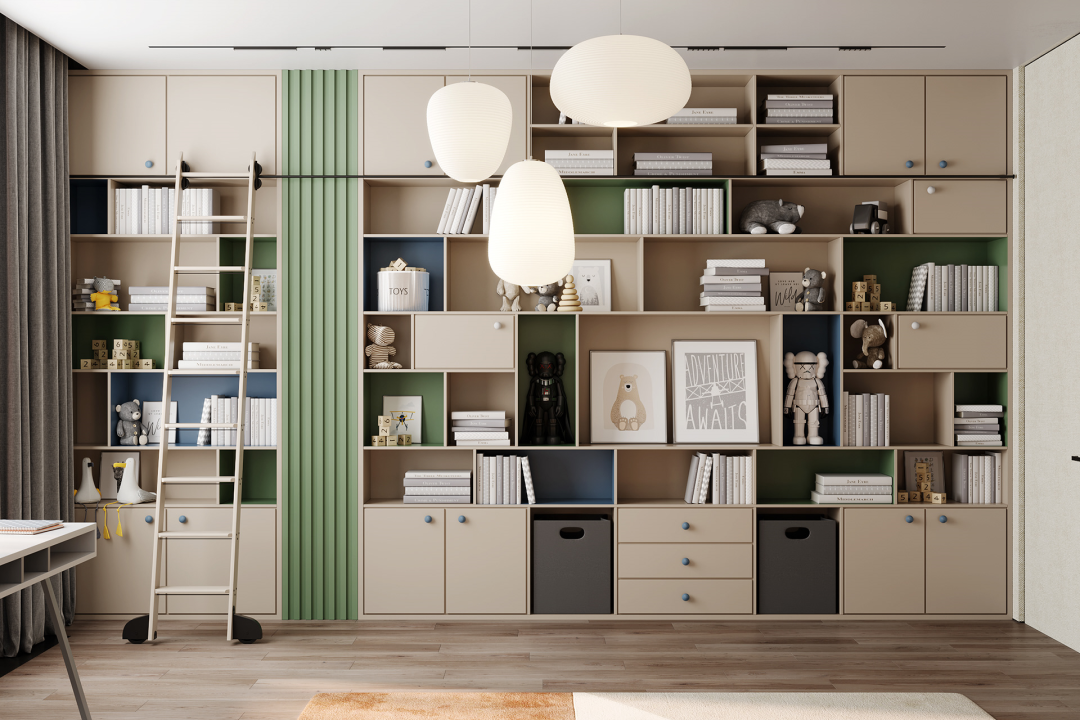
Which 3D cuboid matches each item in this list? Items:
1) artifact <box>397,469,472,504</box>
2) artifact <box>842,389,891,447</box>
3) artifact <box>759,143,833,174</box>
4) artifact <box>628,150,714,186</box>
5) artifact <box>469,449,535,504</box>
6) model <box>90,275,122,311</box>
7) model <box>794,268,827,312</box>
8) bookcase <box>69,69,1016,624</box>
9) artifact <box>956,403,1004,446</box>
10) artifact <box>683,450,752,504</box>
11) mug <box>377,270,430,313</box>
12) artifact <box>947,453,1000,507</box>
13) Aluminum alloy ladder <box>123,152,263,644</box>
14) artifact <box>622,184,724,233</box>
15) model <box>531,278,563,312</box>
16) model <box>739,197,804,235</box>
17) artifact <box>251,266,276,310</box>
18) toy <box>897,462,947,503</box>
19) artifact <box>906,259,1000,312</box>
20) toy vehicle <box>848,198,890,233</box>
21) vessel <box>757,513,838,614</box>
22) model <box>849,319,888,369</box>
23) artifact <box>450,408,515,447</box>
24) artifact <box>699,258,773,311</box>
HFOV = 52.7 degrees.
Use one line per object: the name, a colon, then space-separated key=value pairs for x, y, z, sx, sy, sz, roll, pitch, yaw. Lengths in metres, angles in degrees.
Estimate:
artifact: x=-0.656 y=0.842 z=7.216 sx=0.351 sy=0.136 sz=0.242 roll=-1 pitch=-1 yaw=0
artifact: x=2.151 y=0.398 z=7.174 sx=0.279 sy=0.287 sz=0.091 roll=-1 pitch=0 yaw=14
artifact: x=1.687 y=-1.316 z=7.151 sx=0.356 sy=0.146 sz=0.242 roll=0 pitch=2 yaw=-4
artifact: x=0.875 y=-1.287 z=7.174 sx=0.496 sy=0.124 sz=0.078 roll=-1 pitch=0 yaw=0
artifact: x=-0.207 y=0.759 z=7.300 sx=0.595 sy=0.479 sz=0.311 roll=0 pitch=1 yaw=3
model: x=-2.859 y=-0.448 z=7.293 sx=0.254 sy=0.224 sz=0.207 roll=-1 pitch=-3 yaw=-5
model: x=1.835 y=-0.473 z=7.270 sx=0.226 sy=0.234 sz=0.231 roll=-1 pitch=0 yaw=4
bookcase: x=-0.297 y=-0.076 z=7.082 sx=7.198 sy=3.562 sz=0.747 roll=0 pitch=2 yaw=-14
artifact: x=2.902 y=0.433 z=7.178 sx=0.307 sy=0.242 sz=0.129 roll=-1 pitch=0 yaw=16
artifact: x=1.191 y=0.783 z=7.180 sx=0.445 sy=0.246 sz=0.102 roll=-1 pitch=0 yaw=6
mug: x=-0.912 y=-0.453 z=7.267 sx=0.320 sy=0.207 sz=0.299 roll=-1 pitch=-1 yaw=3
artifact: x=2.900 y=0.786 z=7.384 sx=0.331 sy=0.377 sz=0.395 roll=0 pitch=0 yaw=2
Aluminum alloy ladder: x=-2.245 y=0.229 z=7.076 sx=0.877 sy=3.082 sz=0.665 roll=-1 pitch=0 yaw=-12
artifact: x=0.931 y=-0.966 z=7.280 sx=0.520 sy=0.222 sz=0.362 roll=0 pitch=1 yaw=6
model: x=0.057 y=-0.419 z=7.208 sx=0.257 sy=0.286 sz=0.188 roll=0 pitch=-12 yaw=6
model: x=1.537 y=-0.940 z=7.196 sx=0.327 sy=0.159 sz=0.278 roll=-1 pitch=1 yaw=12
artifact: x=-1.860 y=-0.470 z=7.291 sx=0.064 sy=0.232 sz=0.281 roll=1 pitch=10 yaw=40
toy: x=2.545 y=0.819 z=7.245 sx=0.309 sy=0.254 sz=0.103 roll=0 pitch=-3 yaw=8
artifact: x=2.741 y=-0.478 z=7.177 sx=0.530 sy=0.282 sz=0.355 roll=0 pitch=1 yaw=11
toy vehicle: x=2.213 y=-0.939 z=7.235 sx=0.225 sy=0.203 sz=0.240 roll=-4 pitch=-8 yaw=37
vessel: x=1.558 y=1.382 z=7.341 sx=0.688 sy=0.611 sz=0.493 roll=7 pitch=-10 yaw=-30
model: x=2.214 y=-0.114 z=7.236 sx=0.218 sy=0.334 sz=0.300 roll=-10 pitch=6 yaw=-40
artifact: x=-0.398 y=0.455 z=7.213 sx=0.377 sy=0.229 sz=0.164 roll=-1 pitch=0 yaw=-7
artifact: x=1.300 y=-0.483 z=7.208 sx=0.509 sy=0.317 sz=0.349 roll=0 pitch=-2 yaw=-5
